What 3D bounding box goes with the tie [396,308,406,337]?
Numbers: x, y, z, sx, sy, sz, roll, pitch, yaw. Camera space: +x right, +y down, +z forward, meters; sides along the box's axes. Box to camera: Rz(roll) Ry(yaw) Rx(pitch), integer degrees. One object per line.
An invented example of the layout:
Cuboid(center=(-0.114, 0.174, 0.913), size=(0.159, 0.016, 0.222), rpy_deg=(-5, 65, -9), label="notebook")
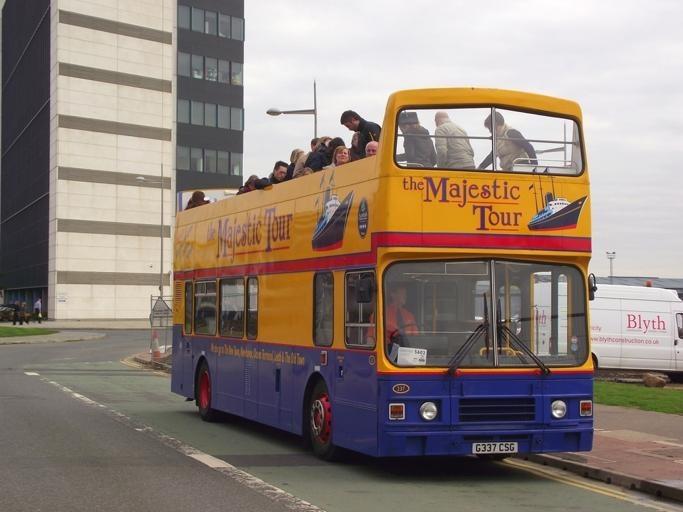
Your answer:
Cuboid(center=(0.720, 0.803, 9.880), size=(0.104, 0.320, 0.028), rpy_deg=(-2, -3, 19), label="tie")
